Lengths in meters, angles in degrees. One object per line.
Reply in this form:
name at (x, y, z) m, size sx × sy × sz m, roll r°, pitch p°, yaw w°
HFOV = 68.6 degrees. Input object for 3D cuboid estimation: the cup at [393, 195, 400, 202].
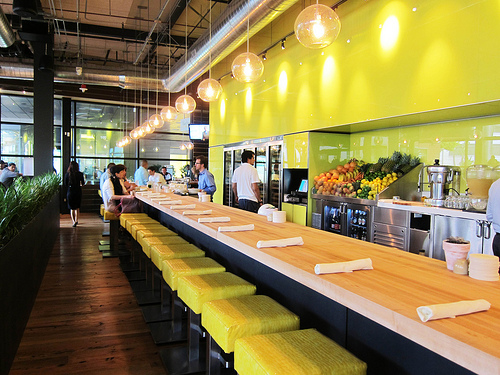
cup at (2.014, 0.152, 5.039) m, size 0.098 × 0.073 × 0.098 m, roll -4°, pitch 4°, yaw 0°

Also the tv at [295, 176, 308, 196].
tv at (0.942, 0.001, 6.482) m, size 0.211 × 0.427 × 0.428 m, roll 2°, pitch -3°, yaw -8°

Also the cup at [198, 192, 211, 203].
cup at (-0.671, 0.145, 5.419) m, size 0.170 × 0.119 × 0.271 m, roll 0°, pitch 5°, yaw -12°

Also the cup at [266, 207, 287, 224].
cup at (0.274, 0.277, 3.669) m, size 0.137 × 0.091 × 0.141 m, roll 1°, pitch 3°, yaw 0°

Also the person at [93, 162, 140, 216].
person at (-2.399, -0.010, 6.803) m, size 0.832 × 1.225 × 0.696 m, roll -4°, pitch 8°, yaw -17°

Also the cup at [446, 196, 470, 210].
cup at (2.385, 0.168, 4.197) m, size 0.095 × 0.142 × 0.306 m, roll -1°, pitch 6°, yaw -20°

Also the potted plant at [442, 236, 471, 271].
potted plant at (1.248, 0.376, 2.230) m, size 0.180 × 0.208 × 0.181 m, roll 3°, pitch 3°, yaw 43°

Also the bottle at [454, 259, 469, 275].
bottle at (1.260, 0.467, 2.185) m, size 0.080 × 0.081 × 0.081 m, roll 1°, pitch -1°, yaw 36°

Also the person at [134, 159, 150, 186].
person at (-3.376, -0.450, 11.369) m, size 0.446 × 0.863 × 0.835 m, roll -5°, pitch 10°, yaw -27°

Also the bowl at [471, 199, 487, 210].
bowl at (2.467, 0.180, 3.937) m, size 0.140 × 0.125 × 0.116 m, roll 4°, pitch 6°, yaw 31°

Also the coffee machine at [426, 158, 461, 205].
coffee machine at (2.390, -0.052, 4.524) m, size 0.394 × 0.576 × 0.383 m, roll -3°, pitch 6°, yaw -18°
